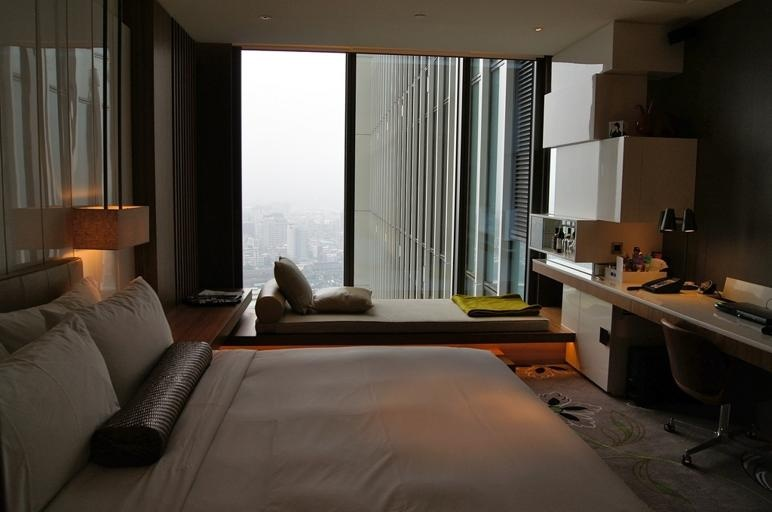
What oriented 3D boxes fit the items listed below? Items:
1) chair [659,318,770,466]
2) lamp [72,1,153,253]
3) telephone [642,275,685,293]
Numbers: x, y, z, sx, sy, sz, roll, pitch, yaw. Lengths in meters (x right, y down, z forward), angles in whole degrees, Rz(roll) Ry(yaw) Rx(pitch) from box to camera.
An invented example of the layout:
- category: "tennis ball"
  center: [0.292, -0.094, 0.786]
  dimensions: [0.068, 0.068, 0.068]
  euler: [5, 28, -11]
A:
- category: "chair"
  center: [2.546, 0.955, 3.935]
  dimensions: [1.019, 1.010, 0.587]
  euler: [-10, 13, -43]
- category: "lamp"
  center: [-2.057, -0.912, 3.685]
  dimensions: [0.498, 1.841, 0.883]
  euler: [-5, 10, -22]
- category: "telephone"
  center: [2.361, 0.247, 4.336]
  dimensions: [0.204, 0.082, 0.165]
  euler: [1, 8, 3]
